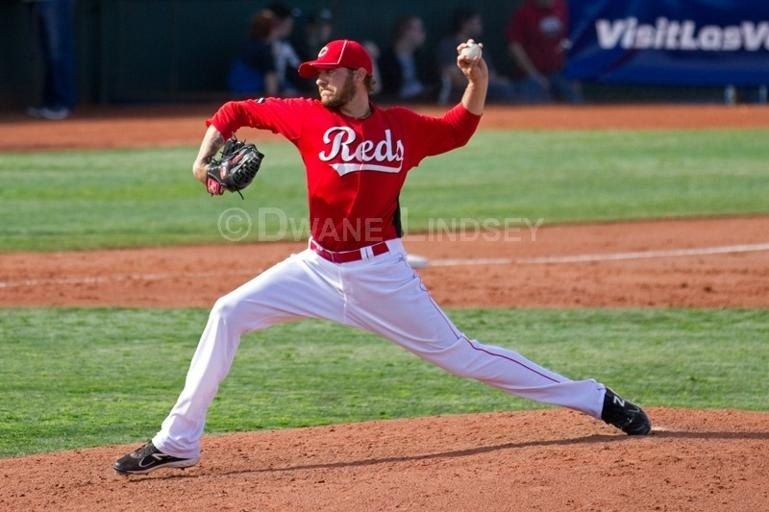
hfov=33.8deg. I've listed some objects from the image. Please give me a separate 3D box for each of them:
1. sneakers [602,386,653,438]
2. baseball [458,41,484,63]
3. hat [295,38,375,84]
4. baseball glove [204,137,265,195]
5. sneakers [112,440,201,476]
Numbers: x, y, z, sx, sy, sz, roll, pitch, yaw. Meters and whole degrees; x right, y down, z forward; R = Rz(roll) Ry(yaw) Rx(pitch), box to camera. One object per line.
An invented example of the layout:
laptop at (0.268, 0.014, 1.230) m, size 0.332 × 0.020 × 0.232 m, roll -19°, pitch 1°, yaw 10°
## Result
sneakers at (1.577, 1.040, 8.344) m, size 0.390 × 0.232 × 0.167 m, roll 28°, pitch -38°, yaw -3°
baseball at (0.547, -1.327, 8.156) m, size 0.132 × 0.110 × 0.162 m, roll -21°, pitch 3°, yaw 43°
hat at (-0.311, -1.276, 8.181) m, size 0.421 × 0.176 × 0.249 m, roll -2°, pitch 4°, yaw -16°
baseball glove at (-0.891, -0.575, 8.190) m, size 0.328 × 0.183 × 0.378 m, roll 12°, pitch -28°, yaw 29°
sneakers at (-1.510, 1.324, 8.294) m, size 0.649 × 0.259 × 0.206 m, roll 0°, pitch 5°, yaw -3°
